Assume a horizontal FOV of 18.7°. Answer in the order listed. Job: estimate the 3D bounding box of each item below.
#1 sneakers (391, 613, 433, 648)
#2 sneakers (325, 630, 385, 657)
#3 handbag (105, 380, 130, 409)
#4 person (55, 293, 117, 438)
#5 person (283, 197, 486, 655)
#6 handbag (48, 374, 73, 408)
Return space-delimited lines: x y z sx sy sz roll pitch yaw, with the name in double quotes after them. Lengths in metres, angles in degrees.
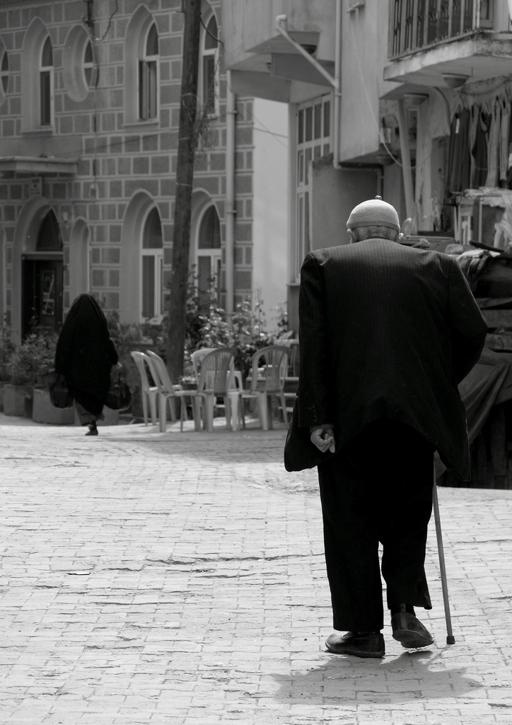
0.587 1.042 5.957 0.082 0.096 0.199 -9 -31 22 "sneakers"
0.380 1.101 5.996 0.211 0.130 0.096 5 3 41 "sneakers"
-2.079 0.527 23.361 0.296 0.757 0.369 0 -2 31 "handbag"
-1.842 0.030 16.762 0.660 1.513 0.508 0 1 -10 "person"
0.484 0.264 5.985 0.756 1.769 0.467 0 1 3 "person"
-2.592 0.421 20.566 0.102 0.483 0.370 1 -2 -42 "handbag"
